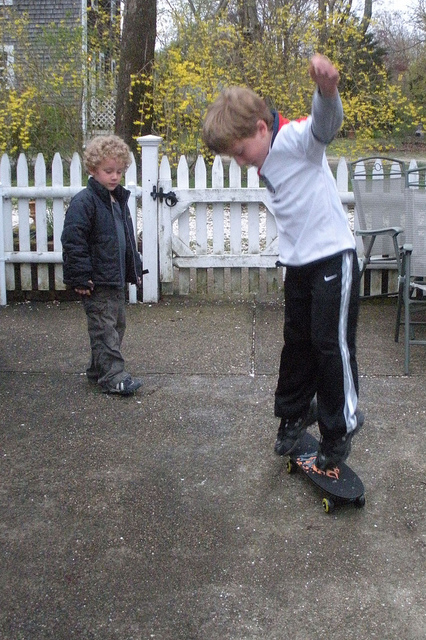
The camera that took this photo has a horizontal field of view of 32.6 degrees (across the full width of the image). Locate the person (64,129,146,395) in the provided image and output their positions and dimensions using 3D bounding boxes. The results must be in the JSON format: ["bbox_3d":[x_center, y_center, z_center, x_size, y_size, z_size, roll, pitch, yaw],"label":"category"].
[{"bbox_3d":[-0.617,-0.386,4.219,0.423,1.339,1.214,-2,12,-6],"label":"person"}]

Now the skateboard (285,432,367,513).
[{"bbox_3d":[0.409,0.555,2.764,0.128,0.088,0.434,-3,13,-16],"label":"skateboard"}]

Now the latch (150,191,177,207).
[{"bbox_3d":[-0.380,-0.974,5.802,0.155,0.084,0.106,15,18,35],"label":"latch"}]

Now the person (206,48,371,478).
[{"bbox_3d":[0.335,-0.113,2.481,0.544,1.441,0.611,-9,14,-37],"label":"person"}]
